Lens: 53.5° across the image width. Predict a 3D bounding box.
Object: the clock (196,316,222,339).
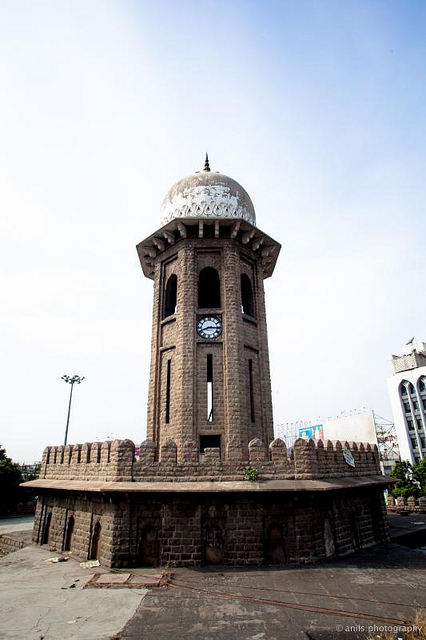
[{"bbox_3d":[-0.185,0.416,20.657,1.067,1.150,0.075,-2,-26,17],"label":"clock"}]
